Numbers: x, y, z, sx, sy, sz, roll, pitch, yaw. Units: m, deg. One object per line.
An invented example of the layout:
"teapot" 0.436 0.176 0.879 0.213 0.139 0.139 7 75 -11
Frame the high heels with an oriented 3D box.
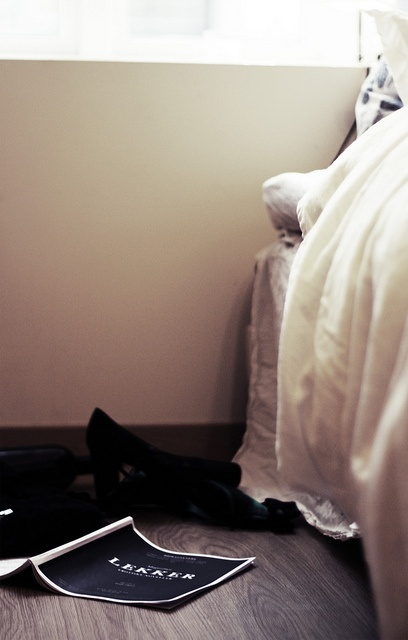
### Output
"high heels" -0.106 0.264 1.118 0.357 0.226 0.117 -1 -7 1
